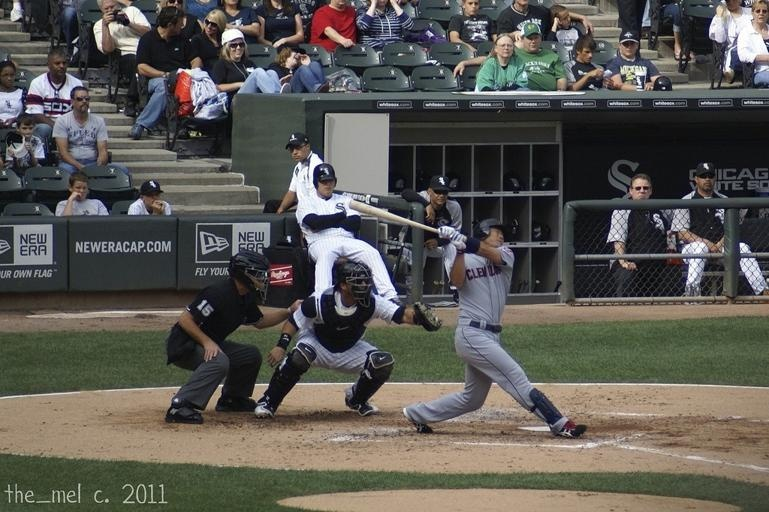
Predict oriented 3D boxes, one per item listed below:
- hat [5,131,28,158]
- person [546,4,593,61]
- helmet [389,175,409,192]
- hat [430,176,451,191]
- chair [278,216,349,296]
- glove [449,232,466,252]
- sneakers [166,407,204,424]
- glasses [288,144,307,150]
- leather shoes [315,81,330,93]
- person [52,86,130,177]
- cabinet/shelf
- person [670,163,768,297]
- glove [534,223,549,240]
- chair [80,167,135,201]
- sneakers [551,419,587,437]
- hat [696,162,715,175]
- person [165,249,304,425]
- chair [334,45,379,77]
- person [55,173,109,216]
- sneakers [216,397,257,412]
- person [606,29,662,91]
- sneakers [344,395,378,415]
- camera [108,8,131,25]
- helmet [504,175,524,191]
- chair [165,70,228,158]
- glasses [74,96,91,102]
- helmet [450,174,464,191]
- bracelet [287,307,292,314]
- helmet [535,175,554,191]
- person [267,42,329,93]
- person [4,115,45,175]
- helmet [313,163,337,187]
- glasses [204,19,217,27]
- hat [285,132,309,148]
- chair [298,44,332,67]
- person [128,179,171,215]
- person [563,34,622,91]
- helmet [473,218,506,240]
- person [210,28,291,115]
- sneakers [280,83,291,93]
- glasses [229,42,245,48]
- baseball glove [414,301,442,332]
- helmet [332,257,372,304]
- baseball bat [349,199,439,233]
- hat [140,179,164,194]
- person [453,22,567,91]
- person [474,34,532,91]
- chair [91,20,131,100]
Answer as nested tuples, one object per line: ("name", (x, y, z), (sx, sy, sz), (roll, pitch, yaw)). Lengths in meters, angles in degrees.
("hat", (-5.752, -1.745, 26.698), (0.314, 0.398, 0.283), (-14, -30, -6))
("person", (3.404, -4.128, 30.978), (0.933, 1.226, 0.613), (-10, 0, -1))
("helmet", (0.231, -1.183, 27.523), (0.306, 0.346, 0.276), (1, 6, -21))
("hat", (0.797, -1.030, 24.396), (0.250, 0.228, 0.266), (0, 4, -3))
("chair", (-1.063, 0.040, 26.070), (0.799, 1.059, 1.094), (0, 2, -1))
("glove", (0.907, -0.188, 20.614), (0.227, 0.089, 0.172), (39, 10, 30))
("sneakers", (-2.493, 2.009, 21.258), (0.373, 0.147, 0.223), (0, 2, -1))
("glasses", (-1.277, -1.619, 25.103), (0.153, 0.042, 0.113), (-15, 10, -32))
("leather shoes", (-1.011, -2.786, 27.790), (0.246, 0.189, 0.441), (0, 4, -1))
("person", (-4.825, -2.020, 27.070), (0.875, 1.371, 0.497), (-1, 4, -13))
("cabinet/shelf", (1.006, -0.648, 27.071), (3.636, 3.087, 1.078), (-2, -18, -10))
("person", (5.112, -0.389, 26.203), (1.341, 2.048, 0.530), (0, 4, 10))
("glove", (2.554, -0.380, 27.645), (0.265, 0.229, 0.212), (-1, -3, 7))
("chair", (-4.445, -1.174, 27.344), (0.788, 0.406, 0.984), (-3, -9, -5))
("sneakers", (2.270, 2.123, 20.760), (0.356, 0.165, 0.208), (-4, 3, 24))
("hat", (5.004, -1.352, 26.488), (0.240, 0.194, 0.338), (0, -9, 6))
("person", (-2.057, 1.005, 21.389), (1.390, 2.151, 0.639), (-1, 4, -5))
("chair", (-0.482, -3.483, 29.784), (0.661, 0.515, 0.562), (-1, 2, -18))
("person", (-4.699, -0.884, 26.347), (0.881, 0.765, 0.480), (-8, 10, -43))
("sneakers", (-1.886, 1.924, 21.843), (0.584, 0.247, 0.197), (0, 1, 2))
("person", (4.149, -3.212, 28.452), (0.969, 1.004, 1.483), (-5, 16, 4))
("sneakers", (-0.307, 1.916, 21.697), (0.444, 0.191, 0.198), (4, 5, 35))
("camera", (-4.457, -4.052, 28.843), (0.262, 0.113, 0.262), (12, -37, 23))
("helmet", (2.093, -1.188, 27.619), (0.224, 0.289, 0.290), (8, -6, -38))
("chair", (-3.123, -2.424, 28.771), (1.183, 1.457, 1.033), (-2, 4, -22))
("glasses", (-4.773, -2.508, 26.989), (0.117, 0.089, 0.239), (3, 4, 36))
("helmet", (1.159, -1.196, 27.489), (0.240, 0.313, 0.290), (12, 5, 7))
("bracelet", (-1.177, 0.693, 21.327), (0.060, 0.021, 0.060), (11, 21, 2))
("helmet", (2.584, -1.195, 27.608), (0.284, 0.229, 0.288), (-11, 0, 23))
("person", (-1.408, -3.105, 28.179), (0.817, 0.801, 1.446), (-2, 4, -25))
("person", (-5.678, -1.716, 26.763), (0.651, 0.885, 0.652), (-1, -21, -6))
("helmet", (-0.863, -1.193, 24.524), (0.239, 0.235, 0.366), (-4, 8, -14))
("glasses", (-2.961, -3.966, 28.792), (0.146, 0.118, 0.317), (-4, 5, -43))
("hat", (-1.242, -1.740, 25.188), (0.228, 0.188, 0.327), (-7, -3, 32))
("chair", (-1.158, -3.540, 29.766), (0.455, 0.622, 0.452), (-4, 15, -9))
("person", (-3.544, -0.909, 26.377), (0.598, 0.512, 0.949), (0, 0, -17))
("person", (3.465, -3.136, 28.538), (0.739, 1.125, 1.085), (1, 5, -32))
("helmet", (1.308, -0.321, 20.975), (0.333, 0.274, 0.256), (12, -21, 12))
("person", (-2.145, -3.164, 28.420), (0.771, 1.306, 1.595), (-15, 11, -43))
("sneakers", (-1.609, -2.805, 28.180), (0.103, 0.141, 0.229), (2, 4, 25))
("glasses", (-2.446, -3.537, 28.417), (0.277, 0.066, 0.097), (-2, 4, -27))
("baseball glove", (0.514, 0.784, 21.087), (0.392, 0.237, 0.152), (31, -18, -25))
("helmet", (-0.357, 0.318, 21.156), (0.488, 0.492, 0.433), (0, -2, 41))
("baseball bat", (0.179, -0.596, 24.632), (1.329, 0.158, 0.156), (19, -21, -2))
("hat", (-3.615, -1.062, 26.359), (0.314, 0.208, 0.255), (-1, 4, -18))
("person", (2.092, -3.450, 28.504), (0.618, 1.088, 1.772), (23, 21, 15))
("person", (1.884, -3.096, 27.932), (0.969, 1.103, 1.257), (0, 2, 24))
("chair", (-4.888, -3.385, 29.483), (0.698, 1.112, 0.765), (6, 8, 1))
